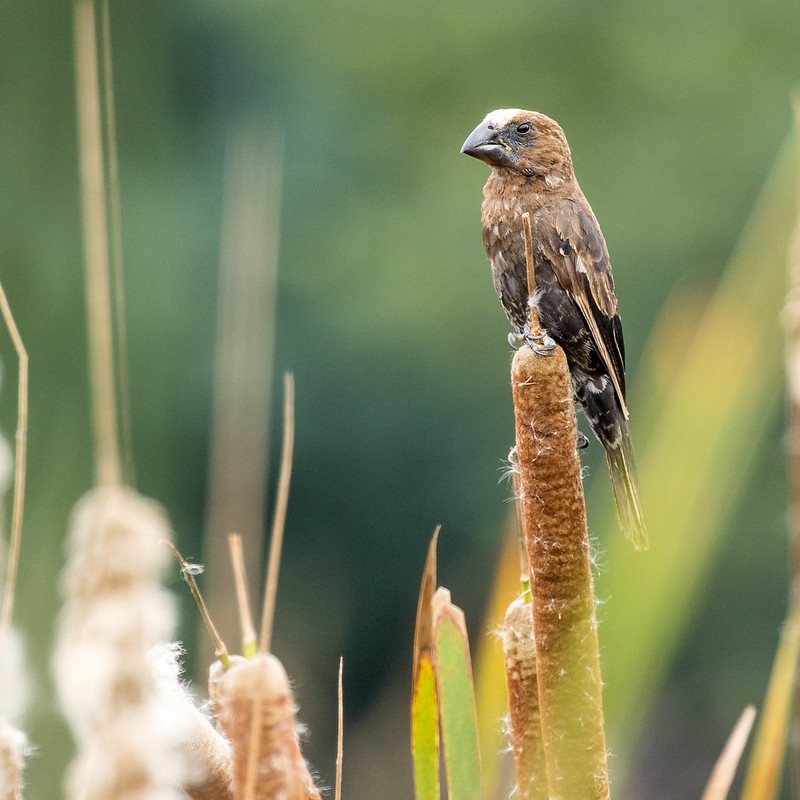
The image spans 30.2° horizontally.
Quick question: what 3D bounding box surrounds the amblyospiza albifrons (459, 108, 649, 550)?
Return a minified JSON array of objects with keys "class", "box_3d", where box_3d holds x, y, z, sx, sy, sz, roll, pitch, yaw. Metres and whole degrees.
[{"class":"amblyospiza albifrons","box_3d":[0.338,-0.135,3.284,0.296,0.970,0.583,-10,-49,11]}]
